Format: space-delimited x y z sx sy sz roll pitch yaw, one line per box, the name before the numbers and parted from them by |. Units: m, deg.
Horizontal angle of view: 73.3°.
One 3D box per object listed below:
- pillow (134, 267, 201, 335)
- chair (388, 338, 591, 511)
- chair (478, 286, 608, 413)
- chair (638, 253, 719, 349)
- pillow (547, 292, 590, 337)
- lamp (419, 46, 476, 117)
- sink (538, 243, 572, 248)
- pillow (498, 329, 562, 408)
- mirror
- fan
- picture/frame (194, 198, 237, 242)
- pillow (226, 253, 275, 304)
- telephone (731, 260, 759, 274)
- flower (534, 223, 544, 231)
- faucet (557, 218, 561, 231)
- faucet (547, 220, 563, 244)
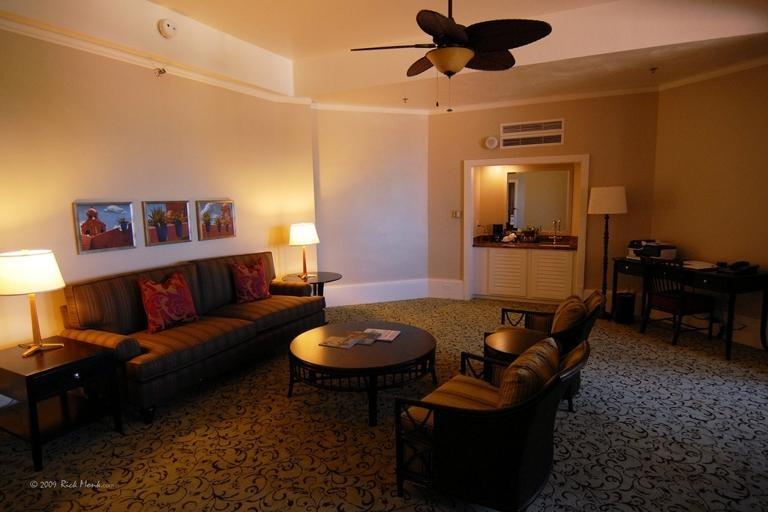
pillow | -2.483 0.529 5.966 0.361 0.586 0.690 11 11 26
chair | 0.931 1.318 4.674 1.609 1.359 1.233 2 3 33
chair | 1.740 0.915 5.626 1.320 1.050 1.043 -1 10 14
chair | 3.866 0.549 6.771 0.768 1.009 0.761 0 6 1
pillow | 1.916 0.599 5.304 0.339 0.314 0.412 -1 9 22
lamp | 0.629 -1.641 4.910 0.470 0.494 0.466 -5 13 -14
sink | 2.747 -0.147 8.196 0.509 0.080 0.217 0 9 29
pillow | 1.270 0.963 4.419 0.332 0.446 1.074 3 5 42
mirror | 2.607 -0.945 8.509 1.091 1.098 0.074 7 20 29
fan | 0.813 -2.413 5.704 1.180 0.611 1.274 -4 6 -38
picture/frame | -2.229 -0.481 6.800 0.057 0.536 0.579 -1 5 39
pillow | -1.742 0.326 6.924 0.257 0.600 0.671 8 14 33
telephone | 4.343 0.140 6.212 0.221 0.075 0.231 -13 10 -14
flower | 2.598 -0.475 8.589 0.125 0.117 0.112 -2 -4 34
faucet | 2.876 -0.506 8.436 0.082 0.196 0.028 -2 9 17
faucet | 2.833 -0.406 8.415 0.166 0.388 0.147 -1 9 22
